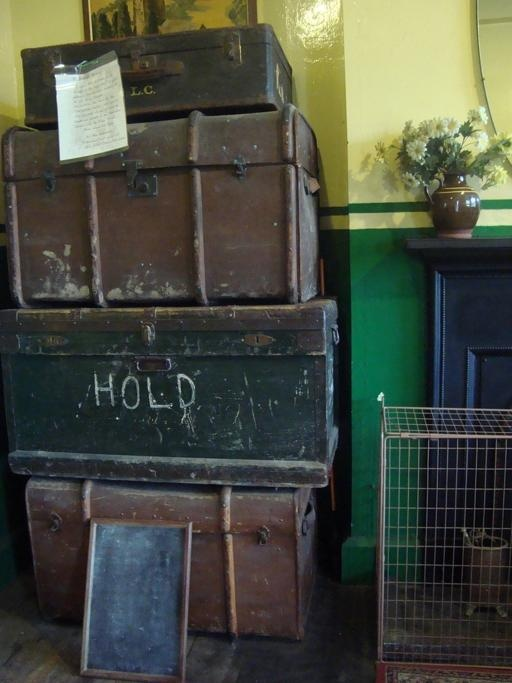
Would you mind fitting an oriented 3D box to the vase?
[{"bbox_3d":[0.657,-0.437,2.261,0.175,0.242,0.202,-2,3,34],"label":"vase"}]
